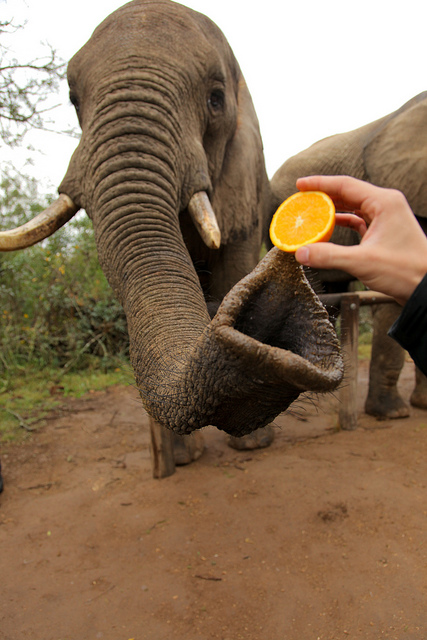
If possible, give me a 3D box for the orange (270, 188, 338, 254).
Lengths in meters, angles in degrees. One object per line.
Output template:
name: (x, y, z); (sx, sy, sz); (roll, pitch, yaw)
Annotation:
orange: (0.262, -0.280, 1.674); (0.178, 0.193, 0.182); (7, 19, 4)
